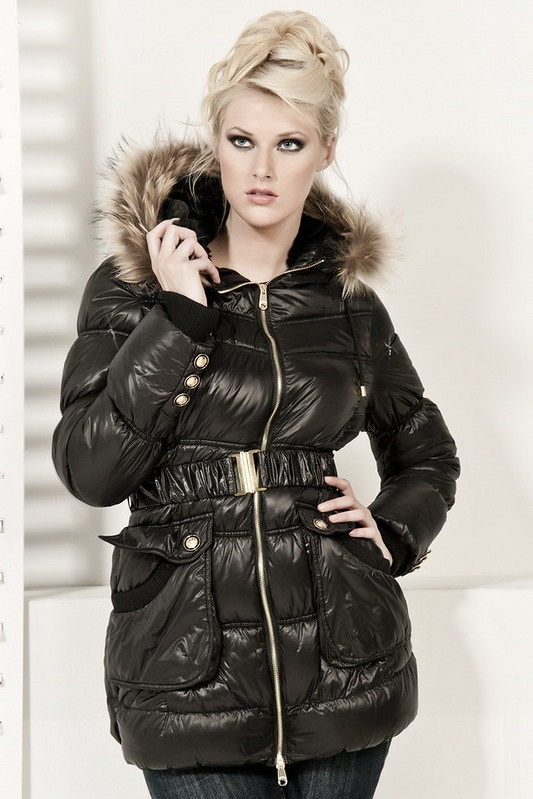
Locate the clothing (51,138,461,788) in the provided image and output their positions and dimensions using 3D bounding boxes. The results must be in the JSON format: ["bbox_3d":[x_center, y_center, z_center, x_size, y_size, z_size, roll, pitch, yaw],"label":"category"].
[{"bbox_3d":[0.020,0.066,1.367,0.757,1.045,0.550,0,8,-15],"label":"clothing"}]

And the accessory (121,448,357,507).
[{"bbox_3d":[-0.071,0.124,1.267,0.179,0.048,0.155,-10,-3,22],"label":"accessory"}]
